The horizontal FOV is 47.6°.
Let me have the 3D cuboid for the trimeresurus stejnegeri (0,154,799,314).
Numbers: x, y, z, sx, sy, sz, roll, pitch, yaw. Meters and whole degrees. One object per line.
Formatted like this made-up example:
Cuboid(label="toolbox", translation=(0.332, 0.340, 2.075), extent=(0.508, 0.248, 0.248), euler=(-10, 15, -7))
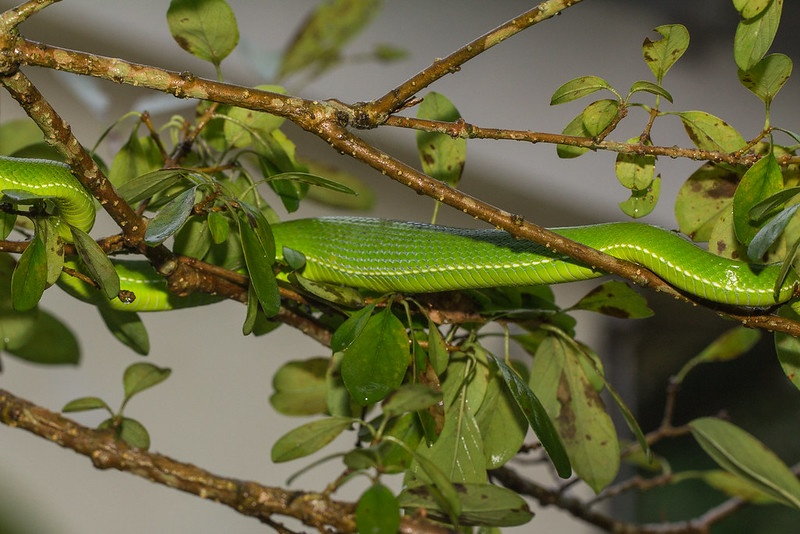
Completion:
Cuboid(label="trimeresurus stejnegeri", translation=(-0.058, -0.121, 3.336), extent=(3.037, 0.447, 0.622), euler=(4, -17, 2))
